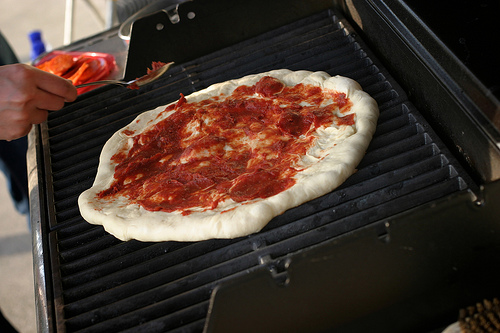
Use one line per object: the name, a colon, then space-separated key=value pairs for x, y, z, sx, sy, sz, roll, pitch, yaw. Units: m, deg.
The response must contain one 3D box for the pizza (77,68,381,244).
pizza: x=-0.120 y=-0.075 z=2.929 sx=1.631 sy=0.324 sz=0.974 roll=-22 pitch=71 yaw=-2
